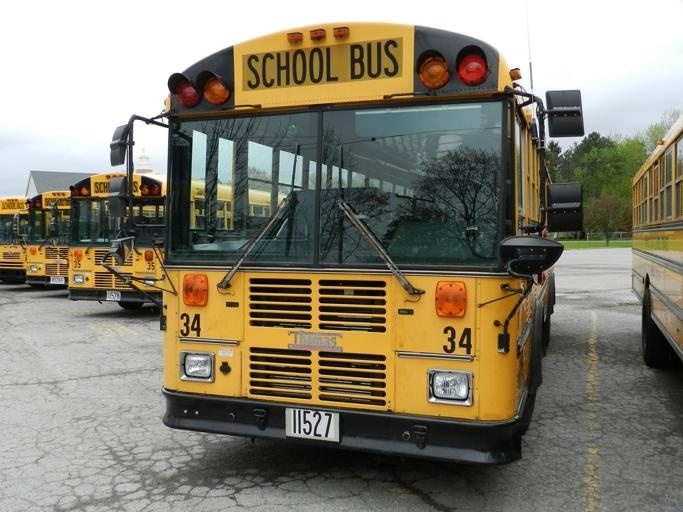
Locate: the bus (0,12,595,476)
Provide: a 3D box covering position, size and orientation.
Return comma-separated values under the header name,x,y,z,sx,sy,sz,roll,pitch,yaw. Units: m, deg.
name,x,y,z,sx,sy,sz,roll,pitch,yaw
bus,0.027,-0.146,4.602,2.416,2.112,4.442,0,1,20
